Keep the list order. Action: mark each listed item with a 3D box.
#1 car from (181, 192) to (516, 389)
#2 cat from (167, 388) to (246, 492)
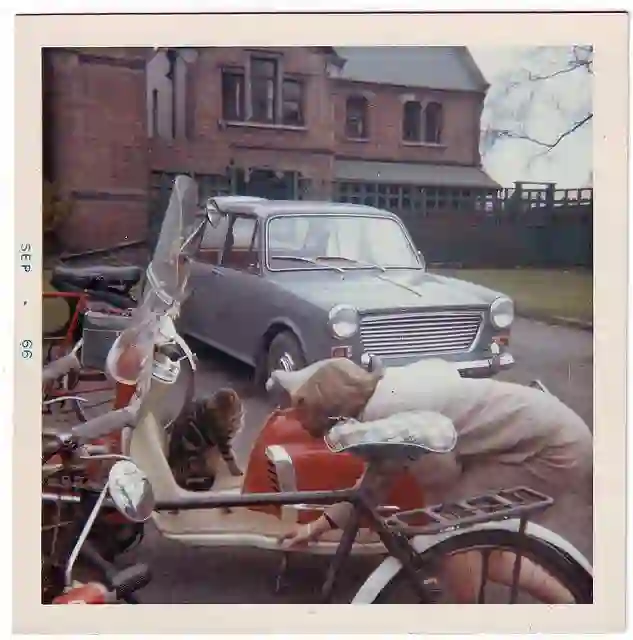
[{"bbox_3d":[0.079,-0.209,5.473,1.015,0.940,1.975,1,6,-28],"label":"car"},{"bbox_3d":[-0.512,0.502,4.243,0.342,0.593,0.322,8,37,13],"label":"cat"}]
